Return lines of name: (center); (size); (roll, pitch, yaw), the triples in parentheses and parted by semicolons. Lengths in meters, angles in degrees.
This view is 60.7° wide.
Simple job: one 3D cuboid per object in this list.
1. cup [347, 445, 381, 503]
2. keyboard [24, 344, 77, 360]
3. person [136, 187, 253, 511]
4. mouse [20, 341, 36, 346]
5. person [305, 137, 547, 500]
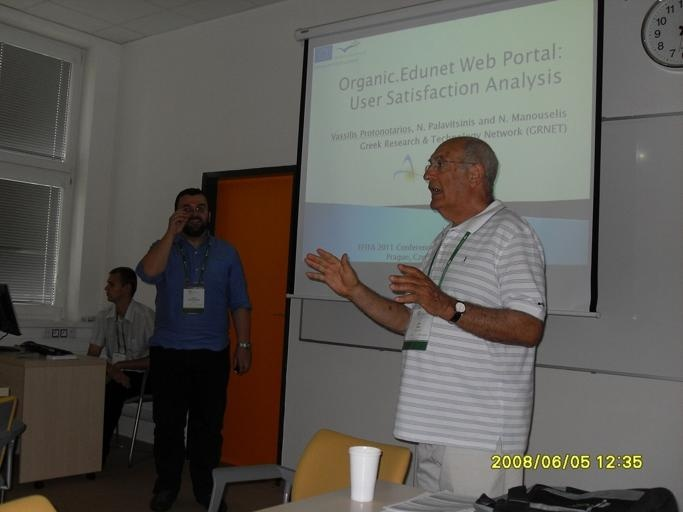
cup: (0.058, 0.688, 1.900); (0.133, 0.186, 0.151); (2, -3, -10)
keyboard: (-2.226, 0.727, 4.414); (0.352, 0.056, 0.184); (0, -4, 45)
person: (-1.015, 0.626, 3.976); (0.766, 2.217, 0.307); (2, 0, -20)
mouse: (-2.596, 0.726, 4.803); (0.102, 0.051, 0.106); (2, -6, -17)
person: (0.405, 0.211, 2.307); (0.703, 1.290, 0.692); (2, 0, 43)
